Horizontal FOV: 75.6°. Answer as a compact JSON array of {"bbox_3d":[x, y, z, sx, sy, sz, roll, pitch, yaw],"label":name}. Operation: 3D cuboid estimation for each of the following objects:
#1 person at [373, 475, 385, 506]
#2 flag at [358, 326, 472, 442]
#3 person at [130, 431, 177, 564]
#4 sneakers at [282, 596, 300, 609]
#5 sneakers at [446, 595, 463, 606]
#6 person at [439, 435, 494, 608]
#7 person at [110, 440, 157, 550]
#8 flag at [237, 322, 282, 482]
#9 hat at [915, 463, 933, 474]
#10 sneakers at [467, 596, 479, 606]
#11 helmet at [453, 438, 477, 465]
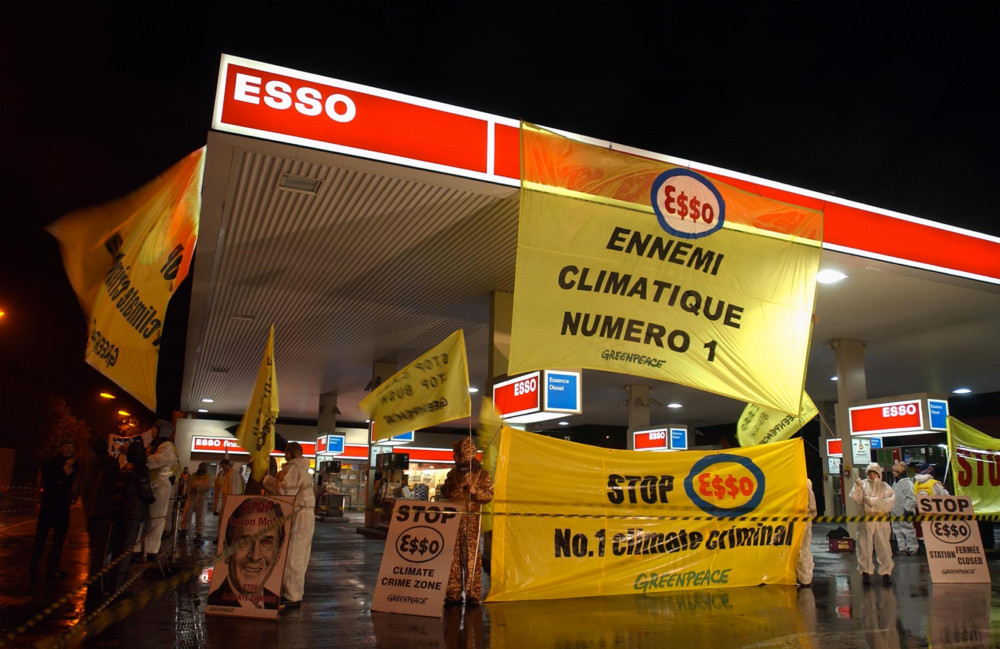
[{"bbox_3d":[-3.872,5.299,20.692,0.338,1.092,1.107,6,-19,-13],"label":"person"},{"bbox_3d":[-1.361,1.003,10.184,2.043,1.470,0.110,-17,-25,28],"label":"flag"},{"bbox_3d":[-5.700,2.899,10.437,0.360,1.141,0.420,-20,-3,-12],"label":"person"},{"bbox_3d":[-2.867,3.861,8.862,0.189,0.084,0.128,11,-15,-42],"label":"sneakers"},{"bbox_3d":[-0.619,3.800,8.849,0.233,0.121,0.137,4,-18,-7],"label":"sneakers"},{"bbox_3d":[-0.492,2.742,9.011,0.679,2.202,0.534,6,-19,-13],"label":"person"},{"bbox_3d":[-5.200,2.465,9.144,0.500,1.560,0.586,12,-21,-29],"label":"person"},{"bbox_3d":[-3.632,1.089,9.913,0.538,2.540,1.487,9,-20,-20],"label":"flag"},{"bbox_3d":[9.869,3.362,14.960,0.443,0.188,0.631,-1,-7,22],"label":"hat"},{"bbox_3d":[-0.370,3.792,8.807,0.164,0.127,0.116,3,-18,-5],"label":"sneakers"},{"bbox_3d":[-0.469,1.805,9.184,0.276,0.359,0.362,8,2,16],"label":"helmet"}]
